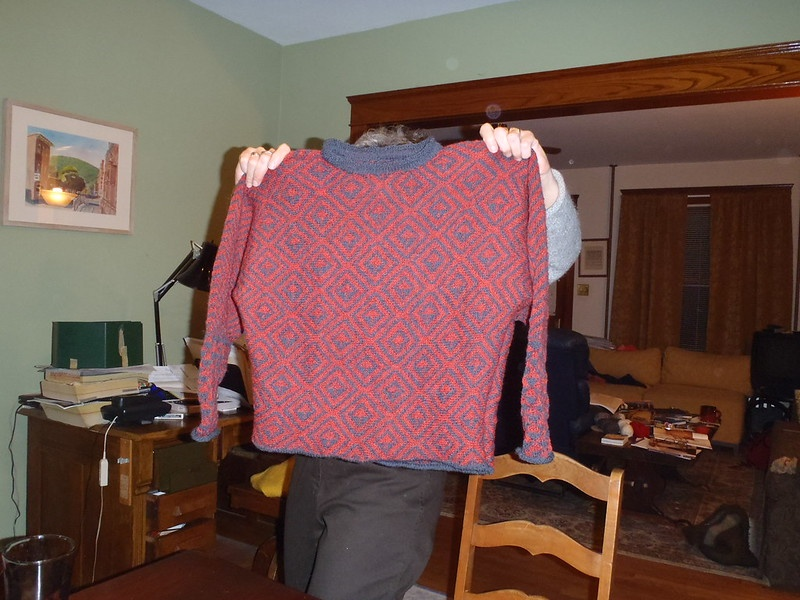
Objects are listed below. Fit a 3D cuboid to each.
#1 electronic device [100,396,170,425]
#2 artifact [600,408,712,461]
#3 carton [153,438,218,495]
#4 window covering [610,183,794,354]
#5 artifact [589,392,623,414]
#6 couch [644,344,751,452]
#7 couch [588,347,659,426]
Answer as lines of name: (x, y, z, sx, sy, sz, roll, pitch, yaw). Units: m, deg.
electronic device: (-1.119, 0.460, 2.712, 0.139, 0.116, 0.229, 7, 8, 43)
artifact: (1.622, 0.811, 4.112, 0.693, 0.124, 0.936, 4, 6, 25)
carton: (-0.895, 0.695, 2.658, 0.241, 0.126, 0.224, 0, 0, -44)
window covering: (3.693, -0.367, 7.609, 2.513, 2.335, 0.210, 2, -2, 26)
artifact: (1.463, 0.731, 4.558, 0.151, 0.043, 0.208, 12, 9, 30)
couch: (2.696, 0.853, 5.771, 1.020, 0.624, 0.959, -9, 14, -34)
couch: (2.074, 0.760, 5.812, 0.688, 0.523, 0.613, 0, -3, 22)
